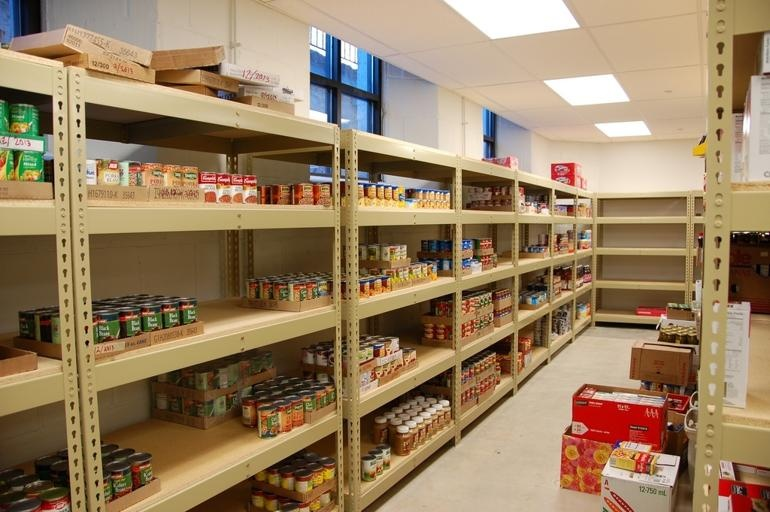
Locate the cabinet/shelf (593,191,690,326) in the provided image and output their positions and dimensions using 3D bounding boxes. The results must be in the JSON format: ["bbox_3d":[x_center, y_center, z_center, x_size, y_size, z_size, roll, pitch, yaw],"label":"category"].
[{"bbox_3d":[3.946,0.024,8.430,2.137,1.754,0.548,4,-6,8],"label":"cabinet/shelf"}]

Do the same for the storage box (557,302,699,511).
[{"bbox_3d":[1.750,0.955,3.900,0.708,0.498,1.220,2,27,25],"label":"storage box"}]
